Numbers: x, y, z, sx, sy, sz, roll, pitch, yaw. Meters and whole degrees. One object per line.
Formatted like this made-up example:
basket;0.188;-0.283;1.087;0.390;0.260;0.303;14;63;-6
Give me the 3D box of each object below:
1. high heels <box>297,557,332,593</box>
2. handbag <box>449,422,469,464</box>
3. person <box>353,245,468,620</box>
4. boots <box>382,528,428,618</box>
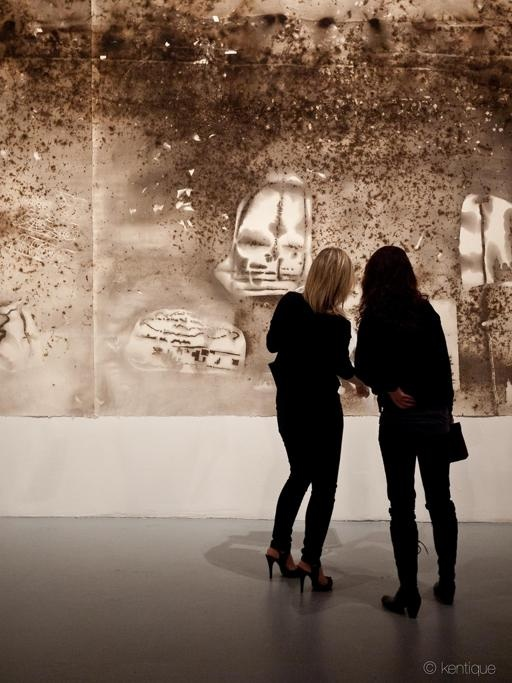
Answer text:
high heels;0.232;0.972;3.097;0.170;0.151;0.090;-3;-3;-4
handbag;0.797;0.405;2.945;0.049;0.148;0.119;-2;-3;-13
person;0.604;0.324;2.970;0.355;1.407;0.400;-3;5;-30
boots;0.570;0.918;2.885;0.158;0.237;0.196;-5;6;-43
